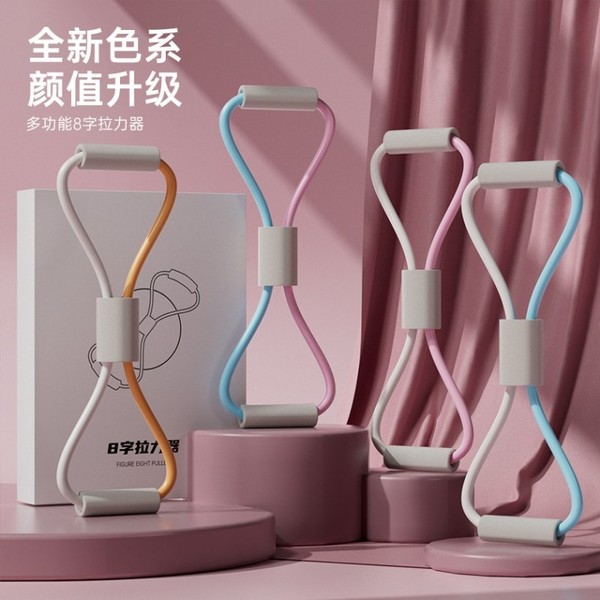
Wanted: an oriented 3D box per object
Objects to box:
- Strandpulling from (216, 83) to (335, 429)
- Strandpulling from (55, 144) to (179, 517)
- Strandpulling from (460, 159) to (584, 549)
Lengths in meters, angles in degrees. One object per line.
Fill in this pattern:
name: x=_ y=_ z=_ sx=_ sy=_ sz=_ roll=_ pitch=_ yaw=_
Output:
Strandpulling: x=-0.039 y=-0.077 z=1.258 sx=0.203 sy=0.634 sz=0.055 roll=0 pitch=-1 yaw=-4
Strandpulling: x=-0.295 y=0.058 z=1.122 sx=0.225 sy=0.605 sz=0.250 roll=3 pitch=4 yaw=-20
Strandpulling: x=0.361 y=0.091 z=1.081 sx=0.240 sy=0.452 sz=0.252 roll=6 pitch=3 yaw=13
